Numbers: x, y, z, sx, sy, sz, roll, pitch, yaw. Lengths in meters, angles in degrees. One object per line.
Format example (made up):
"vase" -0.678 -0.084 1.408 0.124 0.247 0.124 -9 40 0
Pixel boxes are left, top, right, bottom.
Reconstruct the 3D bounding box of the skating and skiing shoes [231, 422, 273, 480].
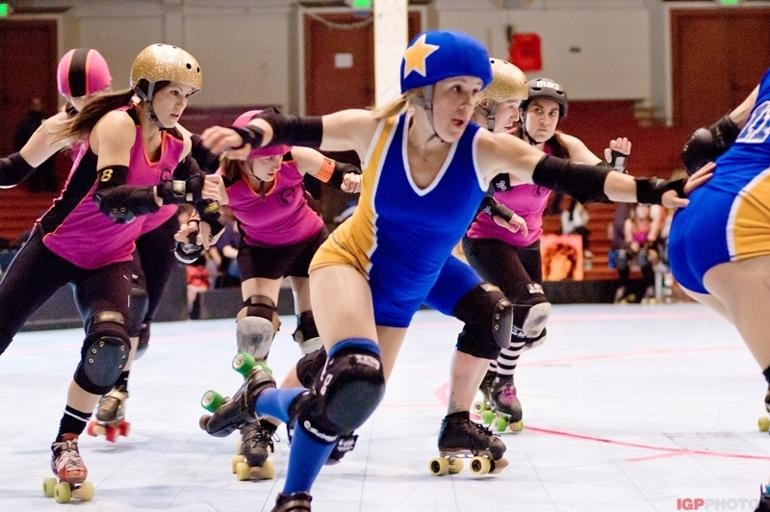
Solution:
"skating and skiing shoes" -0.846 1.262 5.333 0.179 0.219 0.452 3 -5 -8

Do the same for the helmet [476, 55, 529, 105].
"helmet" 0.828 -1.215 5.908 0.377 0.298 0.280 -1 14 4

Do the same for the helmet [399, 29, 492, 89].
"helmet" 0.316 -1.063 4.647 0.390 0.229 0.344 -4 1 21

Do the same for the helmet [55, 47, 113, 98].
"helmet" -2.233 -1.309 6.165 0.384 0.309 0.380 -3 11 -2

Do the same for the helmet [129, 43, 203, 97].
"helmet" -1.439 -1.163 5.423 0.374 0.297 0.320 8 7 10
